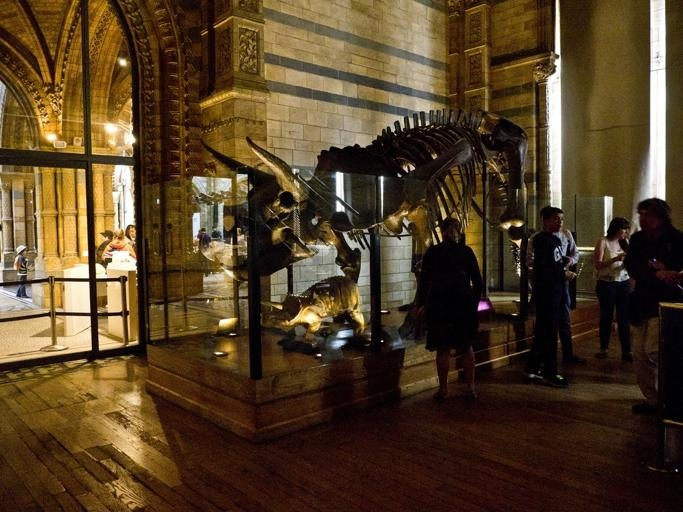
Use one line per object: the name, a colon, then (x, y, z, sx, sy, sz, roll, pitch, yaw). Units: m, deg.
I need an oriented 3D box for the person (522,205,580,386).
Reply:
person: (2.235, 0.389, 6.063, 0.431, 1.789, 0.733, 3, 11, 22)

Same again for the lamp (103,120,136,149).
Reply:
lamp: (-3.072, -1.666, 7.830, 0.371, 0.359, 0.710, -6, 11, -22)

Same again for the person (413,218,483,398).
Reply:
person: (1.042, 0.504, 5.509, 0.611, 1.724, 0.393, -2, 10, 1)

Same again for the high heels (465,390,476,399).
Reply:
high heels: (1.270, 1.331, 5.581, 0.059, 0.075, 0.111, 1, -10, -3)

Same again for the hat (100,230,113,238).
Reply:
hat: (-3.262, -0.302, 7.888, 0.056, 0.122, 0.190, 3, 12, 26)
